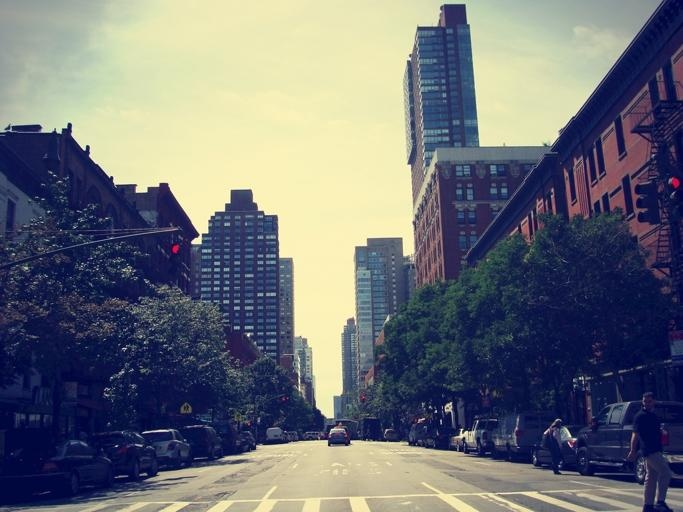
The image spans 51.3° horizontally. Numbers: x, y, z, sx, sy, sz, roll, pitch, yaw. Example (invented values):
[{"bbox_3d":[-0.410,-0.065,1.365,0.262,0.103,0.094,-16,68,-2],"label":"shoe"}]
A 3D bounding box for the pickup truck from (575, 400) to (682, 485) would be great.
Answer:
[{"bbox_3d":[11.589,7.061,27.598,2.676,3.166,6.694,1,-13,-5],"label":"pickup truck"}]
